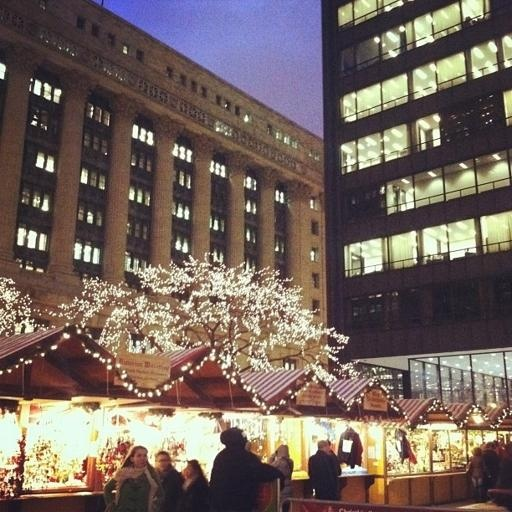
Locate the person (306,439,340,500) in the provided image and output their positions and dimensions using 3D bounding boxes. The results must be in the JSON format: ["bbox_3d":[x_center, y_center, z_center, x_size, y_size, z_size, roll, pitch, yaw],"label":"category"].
[{"bbox_3d":[1.549,4.902,14.392,0.661,1.321,1.679,-3,-16,5],"label":"person"}]
